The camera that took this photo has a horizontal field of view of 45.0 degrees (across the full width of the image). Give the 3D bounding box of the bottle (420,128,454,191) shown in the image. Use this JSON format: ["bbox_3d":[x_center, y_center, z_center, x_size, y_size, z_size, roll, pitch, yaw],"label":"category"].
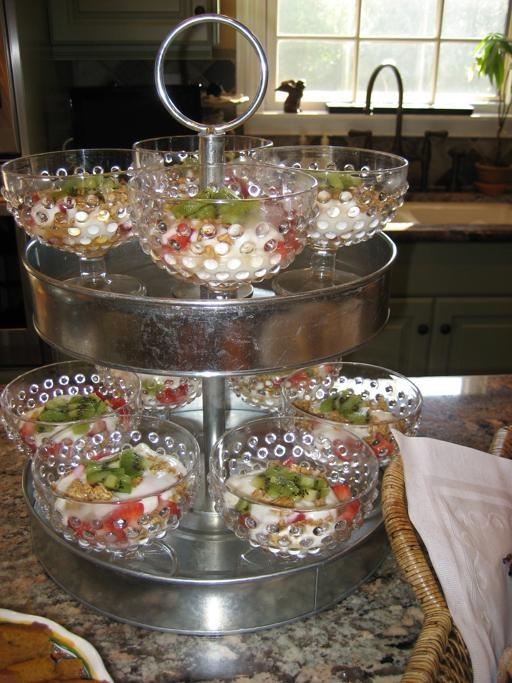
[{"bbox_3d":[0.672,-0.688,2.355,0.096,0.217,0.152,8,23,14],"label":"bottle"}]
